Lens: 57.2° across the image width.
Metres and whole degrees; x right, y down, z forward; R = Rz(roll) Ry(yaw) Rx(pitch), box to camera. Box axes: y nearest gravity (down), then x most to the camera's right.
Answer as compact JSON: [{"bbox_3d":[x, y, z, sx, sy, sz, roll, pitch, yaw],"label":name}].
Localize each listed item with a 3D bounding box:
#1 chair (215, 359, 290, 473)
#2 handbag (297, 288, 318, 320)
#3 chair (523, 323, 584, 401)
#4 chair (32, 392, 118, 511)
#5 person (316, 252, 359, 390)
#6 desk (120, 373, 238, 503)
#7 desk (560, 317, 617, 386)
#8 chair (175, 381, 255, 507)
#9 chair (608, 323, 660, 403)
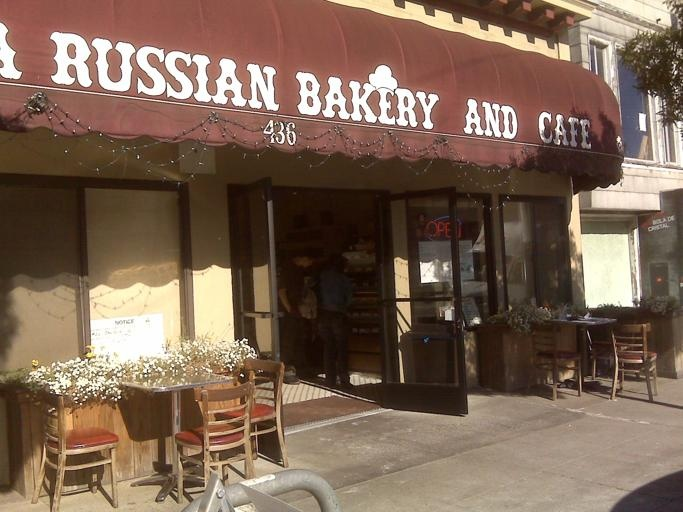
[{"bbox_3d":[-1.062,1.957,7.399,0.765,1.224,0.792,-8,-1,-20],"label":"chair"},{"bbox_3d":[-0.604,0.936,12.046,0.219,0.635,0.433,4,2,-31],"label":"handbag"},{"bbox_3d":[3.520,1.714,10.344,0.760,1.266,0.813,-2,-1,27],"label":"chair"},{"bbox_3d":[-2.822,2.017,6.607,0.824,1.211,0.801,-3,2,-28],"label":"chair"},{"bbox_3d":[-0.134,1.151,11.309,0.660,2.353,0.525,-1,2,22],"label":"person"},{"bbox_3d":[-1.808,1.964,6.887,0.912,1.140,0.977,1,-5,33],"label":"desk"},{"bbox_3d":[4.031,1.587,10.845,0.803,0.888,0.864,-15,-10,19],"label":"desk"},{"bbox_3d":[-1.391,1.929,6.876,0.863,1.246,1.366,-2,2,-13],"label":"chair"},{"bbox_3d":[4.609,1.621,9.940,0.729,1.274,0.829,-5,4,5],"label":"chair"}]
